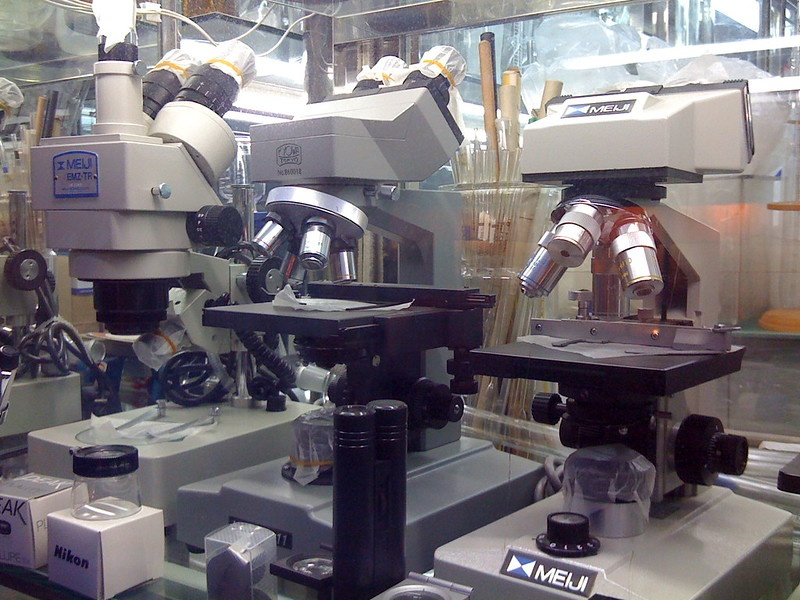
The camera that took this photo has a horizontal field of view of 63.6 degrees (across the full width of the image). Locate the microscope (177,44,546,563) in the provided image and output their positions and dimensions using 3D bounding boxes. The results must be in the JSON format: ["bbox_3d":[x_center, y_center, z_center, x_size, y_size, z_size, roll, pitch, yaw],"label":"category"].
[{"bbox_3d":[-0.079,-0.033,1.468,0.568,1.095,0.592,3,5,43],"label":"microscope"}]

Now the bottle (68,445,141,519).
[{"bbox_3d":[-0.573,0.351,1.258,0.123,0.133,0.129,1,-1,0],"label":"bottle"}]
